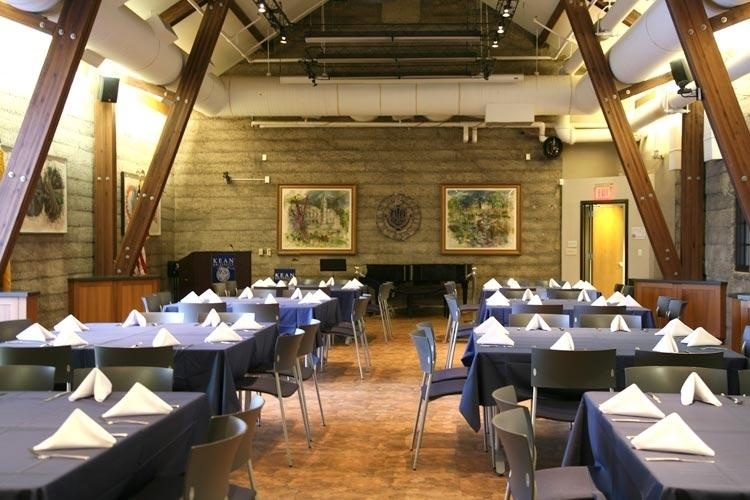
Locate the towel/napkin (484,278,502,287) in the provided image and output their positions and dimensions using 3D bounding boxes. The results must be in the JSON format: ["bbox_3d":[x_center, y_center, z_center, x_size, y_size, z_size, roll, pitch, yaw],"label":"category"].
[{"bbox_3d":[1.854,0.558,9.272,0.260,0.126,0.264,-1,-2,6],"label":"towel/napkin"}]

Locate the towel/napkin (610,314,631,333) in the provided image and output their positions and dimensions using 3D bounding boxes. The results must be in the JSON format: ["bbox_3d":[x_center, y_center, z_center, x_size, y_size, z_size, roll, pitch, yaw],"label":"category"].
[{"bbox_3d":[2.450,0.742,5.883,0.165,0.136,0.169,-1,-1,34],"label":"towel/napkin"}]

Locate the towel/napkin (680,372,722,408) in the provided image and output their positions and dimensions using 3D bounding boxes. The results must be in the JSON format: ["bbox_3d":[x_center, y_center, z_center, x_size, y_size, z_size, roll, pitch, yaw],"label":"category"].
[{"bbox_3d":[2.161,0.949,3.927,0.178,0.237,0.283,-7,2,21],"label":"towel/napkin"}]

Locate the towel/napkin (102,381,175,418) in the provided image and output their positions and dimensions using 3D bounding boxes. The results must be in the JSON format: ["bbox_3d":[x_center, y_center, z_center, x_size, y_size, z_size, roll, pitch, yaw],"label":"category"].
[{"bbox_3d":[-1.483,0.978,3.711,0.242,0.092,0.266,2,-3,4],"label":"towel/napkin"}]

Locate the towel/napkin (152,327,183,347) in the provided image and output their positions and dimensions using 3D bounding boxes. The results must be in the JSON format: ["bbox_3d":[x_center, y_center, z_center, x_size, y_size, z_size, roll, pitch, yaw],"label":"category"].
[{"bbox_3d":[-1.813,0.768,5.098,0.188,0.091,0.167,2,0,-7],"label":"towel/napkin"}]

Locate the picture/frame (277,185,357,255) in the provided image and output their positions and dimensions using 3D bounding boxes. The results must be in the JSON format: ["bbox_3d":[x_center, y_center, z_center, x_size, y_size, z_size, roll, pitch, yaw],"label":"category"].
[{"bbox_3d":[-1.270,-0.681,13.661,1.531,1.350,0.125,0,-4,0],"label":"picture/frame"}]

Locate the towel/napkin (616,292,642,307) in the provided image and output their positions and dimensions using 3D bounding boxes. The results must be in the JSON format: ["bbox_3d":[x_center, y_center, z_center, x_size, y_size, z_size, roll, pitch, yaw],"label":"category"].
[{"bbox_3d":[3.192,0.668,7.426,0.233,0.107,0.245,-1,-1,6],"label":"towel/napkin"}]

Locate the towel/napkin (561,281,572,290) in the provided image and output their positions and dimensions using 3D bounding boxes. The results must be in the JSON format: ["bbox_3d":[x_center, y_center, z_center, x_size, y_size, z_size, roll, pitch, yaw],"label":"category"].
[{"bbox_3d":[3.078,0.589,9.460,0.171,0.258,0.262,0,-1,16],"label":"towel/napkin"}]

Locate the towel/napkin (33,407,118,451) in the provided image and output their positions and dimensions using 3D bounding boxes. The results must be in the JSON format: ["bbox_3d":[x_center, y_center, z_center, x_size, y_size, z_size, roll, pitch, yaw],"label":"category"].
[{"bbox_3d":[-1.682,1.055,3.338,0.243,0.096,0.275,3,-4,8],"label":"towel/napkin"}]

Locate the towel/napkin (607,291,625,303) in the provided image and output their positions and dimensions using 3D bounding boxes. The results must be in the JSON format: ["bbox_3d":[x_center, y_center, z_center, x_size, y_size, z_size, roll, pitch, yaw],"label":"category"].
[{"bbox_3d":[3.045,0.622,7.458,0.235,0.205,0.160,1,-9,0],"label":"towel/napkin"}]

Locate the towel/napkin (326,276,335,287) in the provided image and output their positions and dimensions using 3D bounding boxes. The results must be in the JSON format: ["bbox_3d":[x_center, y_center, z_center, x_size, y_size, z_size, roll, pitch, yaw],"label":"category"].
[{"bbox_3d":[-0.863,0.626,11.524,0.072,0.160,0.095,-15,-28,39],"label":"towel/napkin"}]

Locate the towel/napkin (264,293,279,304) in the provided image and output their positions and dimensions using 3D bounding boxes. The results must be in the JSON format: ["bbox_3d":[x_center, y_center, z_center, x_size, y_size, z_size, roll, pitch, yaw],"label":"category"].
[{"bbox_3d":[-1.344,0.619,7.636,0.140,0.217,0.225,4,-13,0],"label":"towel/napkin"}]

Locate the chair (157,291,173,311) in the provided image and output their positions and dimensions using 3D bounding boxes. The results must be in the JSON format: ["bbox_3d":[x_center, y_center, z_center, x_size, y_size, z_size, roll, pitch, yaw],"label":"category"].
[{"bbox_3d":[-2.868,0.711,8.023,0.255,0.333,0.265,3,-5,-39],"label":"chair"}]

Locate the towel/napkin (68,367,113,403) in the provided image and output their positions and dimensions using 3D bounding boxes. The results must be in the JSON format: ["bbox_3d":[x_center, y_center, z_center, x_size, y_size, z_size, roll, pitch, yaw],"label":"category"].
[{"bbox_3d":[-1.889,0.919,3.954,0.167,0.134,0.254,-1,9,-1],"label":"towel/napkin"}]

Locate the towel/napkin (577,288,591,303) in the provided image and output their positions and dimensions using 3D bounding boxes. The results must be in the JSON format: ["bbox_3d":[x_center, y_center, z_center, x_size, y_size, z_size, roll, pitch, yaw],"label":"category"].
[{"bbox_3d":[2.928,0.656,8.210,0.194,0.218,0.187,1,-5,-2],"label":"towel/napkin"}]

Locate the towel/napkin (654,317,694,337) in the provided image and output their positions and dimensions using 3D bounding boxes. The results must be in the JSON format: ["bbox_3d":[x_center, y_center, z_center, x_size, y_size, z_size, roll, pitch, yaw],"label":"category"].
[{"bbox_3d":[2.812,0.752,5.560,0.265,0.121,0.266,4,-4,-16],"label":"towel/napkin"}]

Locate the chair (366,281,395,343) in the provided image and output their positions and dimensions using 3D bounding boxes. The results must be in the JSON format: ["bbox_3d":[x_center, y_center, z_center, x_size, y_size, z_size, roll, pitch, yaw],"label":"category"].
[{"bbox_3d":[0.176,1.096,10.568,0.763,1.234,0.763,0,-1,3],"label":"chair"}]

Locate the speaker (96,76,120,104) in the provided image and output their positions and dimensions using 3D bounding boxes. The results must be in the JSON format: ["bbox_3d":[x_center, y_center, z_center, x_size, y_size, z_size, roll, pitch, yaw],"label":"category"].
[{"bbox_3d":[-4.432,-2.659,9.782,0.397,0.391,0.168,1,5,17],"label":"speaker"}]

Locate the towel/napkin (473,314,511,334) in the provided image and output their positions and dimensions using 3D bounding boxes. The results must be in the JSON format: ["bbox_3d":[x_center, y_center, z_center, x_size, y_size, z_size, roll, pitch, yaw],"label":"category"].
[{"bbox_3d":[1.247,0.790,6.199,0.325,0.171,0.336,-1,0,23],"label":"towel/napkin"}]

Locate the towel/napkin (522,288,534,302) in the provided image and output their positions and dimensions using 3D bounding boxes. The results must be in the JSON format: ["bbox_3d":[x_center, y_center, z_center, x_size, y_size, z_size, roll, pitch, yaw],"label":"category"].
[{"bbox_3d":[2.112,0.645,8.193,0.178,0.209,0.150,-1,-7,8],"label":"towel/napkin"}]

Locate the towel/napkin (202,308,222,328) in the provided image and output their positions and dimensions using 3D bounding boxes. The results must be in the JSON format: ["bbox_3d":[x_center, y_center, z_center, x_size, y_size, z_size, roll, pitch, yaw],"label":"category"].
[{"bbox_3d":[-1.677,0.716,6.135,0.165,0.203,0.068,5,-6,2],"label":"towel/napkin"}]

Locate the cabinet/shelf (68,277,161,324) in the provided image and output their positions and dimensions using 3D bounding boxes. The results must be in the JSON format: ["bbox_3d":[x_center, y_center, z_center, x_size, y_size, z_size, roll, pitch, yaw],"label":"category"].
[{"bbox_3d":[-3.962,0.767,8.810,0.660,0.650,0.257,-1,3,-26],"label":"cabinet/shelf"}]

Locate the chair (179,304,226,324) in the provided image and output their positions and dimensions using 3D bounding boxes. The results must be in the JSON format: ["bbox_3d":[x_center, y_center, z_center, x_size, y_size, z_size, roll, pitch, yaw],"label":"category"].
[{"bbox_3d":[-2.063,0.712,6.821,0.281,0.215,0.283,1,1,8],"label":"chair"}]

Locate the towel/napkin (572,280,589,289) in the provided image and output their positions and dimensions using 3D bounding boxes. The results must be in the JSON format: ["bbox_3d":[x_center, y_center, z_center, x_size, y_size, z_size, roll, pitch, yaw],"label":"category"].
[{"bbox_3d":[3.219,0.565,9.202,0.292,0.094,0.291,0,1,14],"label":"towel/napkin"}]

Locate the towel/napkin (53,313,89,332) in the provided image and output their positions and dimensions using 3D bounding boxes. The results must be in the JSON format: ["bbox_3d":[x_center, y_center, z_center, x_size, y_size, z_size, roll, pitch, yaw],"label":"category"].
[{"bbox_3d":[-3.535,0.857,6.887,0.410,0.207,0.411,3,-5,-31],"label":"towel/napkin"}]

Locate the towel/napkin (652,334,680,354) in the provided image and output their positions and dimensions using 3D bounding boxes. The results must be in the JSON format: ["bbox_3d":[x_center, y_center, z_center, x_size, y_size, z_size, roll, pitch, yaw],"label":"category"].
[{"bbox_3d":[2.407,0.789,4.892,0.161,0.207,0.230,0,2,14],"label":"towel/napkin"}]

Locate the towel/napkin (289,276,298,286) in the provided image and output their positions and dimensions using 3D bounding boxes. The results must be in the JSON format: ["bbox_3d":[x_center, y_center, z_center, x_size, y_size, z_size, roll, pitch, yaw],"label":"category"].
[{"bbox_3d":[-1.420,0.556,10.275,0.193,0.233,0.141,0,-1,-7],"label":"towel/napkin"}]

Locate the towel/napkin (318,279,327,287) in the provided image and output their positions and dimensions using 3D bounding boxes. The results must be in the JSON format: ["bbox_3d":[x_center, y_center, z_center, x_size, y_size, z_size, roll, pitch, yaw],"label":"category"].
[{"bbox_3d":[-0.857,0.571,9.738,0.114,0.203,0.107,-1,-6,9],"label":"towel/napkin"}]

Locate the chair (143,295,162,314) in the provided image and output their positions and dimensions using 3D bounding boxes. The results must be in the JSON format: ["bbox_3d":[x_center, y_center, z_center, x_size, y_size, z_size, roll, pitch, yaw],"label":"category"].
[{"bbox_3d":[-2.905,0.720,7.682,0.233,0.289,0.232,0,0,18],"label":"chair"}]

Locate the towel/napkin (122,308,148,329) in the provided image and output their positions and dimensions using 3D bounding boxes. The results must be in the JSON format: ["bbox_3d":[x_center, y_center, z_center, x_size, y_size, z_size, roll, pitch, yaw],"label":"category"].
[{"bbox_3d":[-2.528,0.734,6.227,0.199,0.244,0.204,0,-6,-15],"label":"towel/napkin"}]

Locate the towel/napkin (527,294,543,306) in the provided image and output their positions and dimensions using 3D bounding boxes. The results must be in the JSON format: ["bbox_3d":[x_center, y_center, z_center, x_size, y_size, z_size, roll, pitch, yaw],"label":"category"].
[{"bbox_3d":[2.035,0.659,7.515,0.159,0.063,0.156,-2,3,-10],"label":"towel/napkin"}]

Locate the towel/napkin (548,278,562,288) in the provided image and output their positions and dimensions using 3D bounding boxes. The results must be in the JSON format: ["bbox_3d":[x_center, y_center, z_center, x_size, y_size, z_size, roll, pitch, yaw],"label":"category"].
[{"bbox_3d":[3.054,0.594,10.001,0.231,0.244,0.157,-2,-1,-5],"label":"towel/napkin"}]

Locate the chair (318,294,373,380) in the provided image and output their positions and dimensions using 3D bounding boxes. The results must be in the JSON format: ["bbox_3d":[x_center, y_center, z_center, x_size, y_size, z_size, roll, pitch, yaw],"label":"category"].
[{"bbox_3d":[-0.507,1.235,8.614,0.868,1.413,1.047,2,-2,5],"label":"chair"}]

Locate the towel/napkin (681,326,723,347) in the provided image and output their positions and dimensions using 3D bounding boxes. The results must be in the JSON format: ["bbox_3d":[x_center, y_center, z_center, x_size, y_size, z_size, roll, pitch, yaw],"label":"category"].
[{"bbox_3d":[2.873,0.794,5.200,0.211,0.098,0.217,1,-4,4],"label":"towel/napkin"}]

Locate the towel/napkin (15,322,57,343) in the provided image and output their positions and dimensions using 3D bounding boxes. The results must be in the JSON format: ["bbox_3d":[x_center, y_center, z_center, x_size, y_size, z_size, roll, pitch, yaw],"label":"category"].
[{"bbox_3d":[-3.071,0.772,5.342,0.200,0.094,0.205,0,1,25],"label":"towel/napkin"}]

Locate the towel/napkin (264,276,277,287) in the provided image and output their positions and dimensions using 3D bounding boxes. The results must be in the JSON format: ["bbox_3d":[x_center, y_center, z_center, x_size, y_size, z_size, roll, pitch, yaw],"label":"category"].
[{"bbox_3d":[-1.823,0.584,10.239,0.226,0.109,0.229,-3,-6,38],"label":"towel/napkin"}]

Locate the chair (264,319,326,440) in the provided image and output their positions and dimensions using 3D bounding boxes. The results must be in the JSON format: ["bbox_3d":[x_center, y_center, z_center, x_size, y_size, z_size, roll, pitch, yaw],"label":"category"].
[{"bbox_3d":[-0.948,1.216,6.377,0.900,1.360,0.761,0,-2,-1],"label":"chair"}]

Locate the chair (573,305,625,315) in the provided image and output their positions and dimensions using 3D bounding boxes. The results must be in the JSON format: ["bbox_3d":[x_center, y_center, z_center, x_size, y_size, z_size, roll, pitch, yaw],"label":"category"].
[{"bbox_3d":[2.617,0.721,6.895,0.566,0.137,0.268,2,4,21],"label":"chair"}]

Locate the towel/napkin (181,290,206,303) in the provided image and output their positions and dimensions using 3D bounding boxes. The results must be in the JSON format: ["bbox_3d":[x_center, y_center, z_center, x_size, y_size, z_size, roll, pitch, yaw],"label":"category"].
[{"bbox_3d":[-2.287,0.595,7.342,0.243,0.129,0.443,-1,4,-16],"label":"towel/napkin"}]

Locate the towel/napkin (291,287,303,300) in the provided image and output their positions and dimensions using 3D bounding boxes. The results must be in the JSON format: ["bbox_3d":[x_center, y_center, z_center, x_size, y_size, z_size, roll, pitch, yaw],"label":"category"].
[{"bbox_3d":[-1.124,0.668,8.542,0.204,0.212,0.136,3,-6,-1],"label":"towel/napkin"}]

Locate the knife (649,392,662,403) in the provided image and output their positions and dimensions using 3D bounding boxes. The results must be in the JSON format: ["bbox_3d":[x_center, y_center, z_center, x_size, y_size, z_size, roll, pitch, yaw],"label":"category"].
[{"bbox_3d":[1.900,1.013,3.986,0.020,0.014,0.078,-13,21,-5],"label":"knife"}]
